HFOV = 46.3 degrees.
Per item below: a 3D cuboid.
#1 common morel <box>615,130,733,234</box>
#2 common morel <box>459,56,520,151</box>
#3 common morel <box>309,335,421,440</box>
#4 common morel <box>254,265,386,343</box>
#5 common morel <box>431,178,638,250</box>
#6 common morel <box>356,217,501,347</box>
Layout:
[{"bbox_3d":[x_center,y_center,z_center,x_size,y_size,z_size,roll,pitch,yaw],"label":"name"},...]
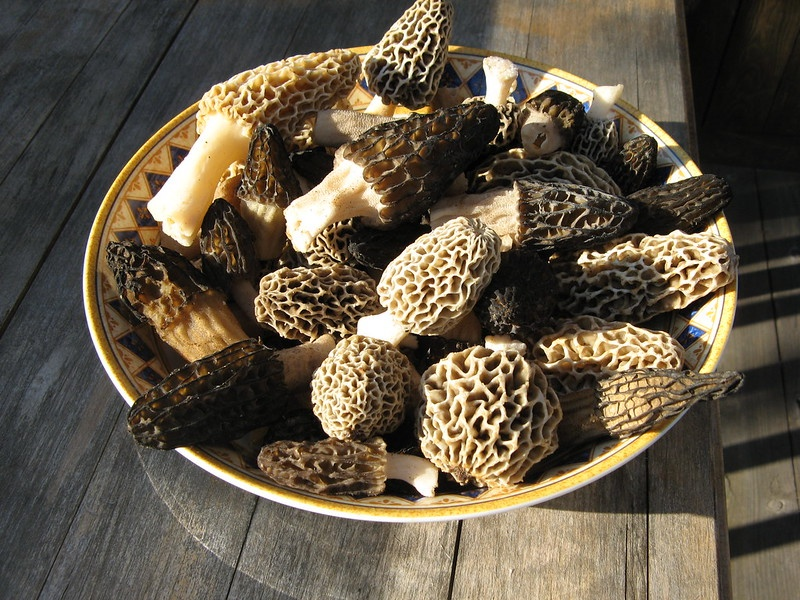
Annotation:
[{"bbox_3d":[0.774,-0.346,2.700,0.397,0.207,0.155,13,60,30],"label":"common morel"},{"bbox_3d":[0.277,-0.587,2.809,0.205,0.308,0.185,-10,59,-5],"label":"common morel"},{"bbox_3d":[-0.083,0.217,2.523,0.291,0.196,0.241,8,20,27],"label":"common morel"},{"bbox_3d":[-0.225,-0.011,2.705,0.368,0.192,0.179,-2,33,-5],"label":"common morel"},{"bbox_3d":[0.376,-0.240,2.660,0.600,0.231,0.188,2,39,1],"label":"common morel"},{"bbox_3d":[0.091,-0.034,2.541,0.439,0.208,0.198,-38,55,20],"label":"common morel"}]
